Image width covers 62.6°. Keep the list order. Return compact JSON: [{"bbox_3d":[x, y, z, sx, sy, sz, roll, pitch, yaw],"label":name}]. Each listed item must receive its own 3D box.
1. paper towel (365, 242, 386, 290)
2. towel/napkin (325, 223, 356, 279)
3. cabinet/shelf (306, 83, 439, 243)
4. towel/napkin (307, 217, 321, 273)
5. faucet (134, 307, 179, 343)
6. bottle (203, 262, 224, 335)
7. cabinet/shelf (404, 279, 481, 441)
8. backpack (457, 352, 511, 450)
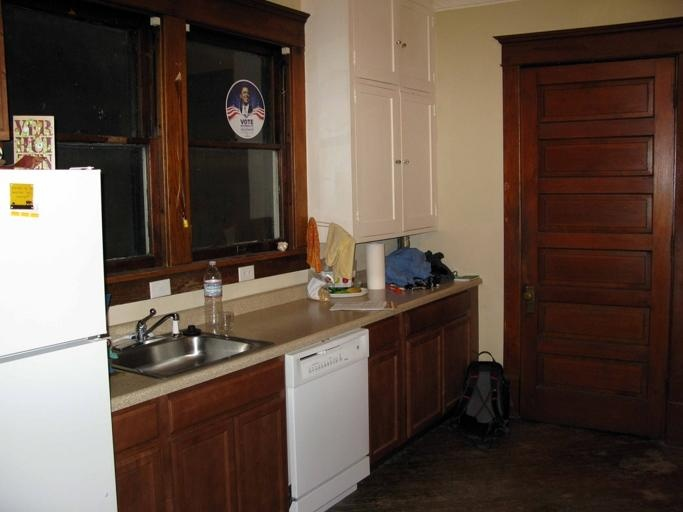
[{"bbox_3d":[0.252,0.078,4.122,0.133,0.341,0.134,-1,6,-2],"label":"paper towel"},{"bbox_3d":[-0.014,-0.014,3.808,0.193,0.428,0.338,-1,7,-2],"label":"towel/napkin"},{"bbox_3d":[0.277,-0.659,4.118,0.374,1.110,1.080,4,8,39],"label":"cabinet/shelf"},{"bbox_3d":[-0.187,-0.071,3.719,0.083,0.356,0.061,-1,6,-2],"label":"towel/napkin"},{"bbox_3d":[-0.906,0.347,2.822,0.245,0.188,0.130,-2,3,25],"label":"faucet"},{"bbox_3d":[-0.713,0.211,3.116,0.110,0.358,0.385,-2,7,-13],"label":"bottle"},{"bbox_3d":[0.876,0.755,4.063,0.380,0.941,1.021,11,-24,-20],"label":"cabinet/shelf"},{"bbox_3d":[1.080,0.997,4.234,0.365,0.587,0.337,4,1,32],"label":"backpack"}]
